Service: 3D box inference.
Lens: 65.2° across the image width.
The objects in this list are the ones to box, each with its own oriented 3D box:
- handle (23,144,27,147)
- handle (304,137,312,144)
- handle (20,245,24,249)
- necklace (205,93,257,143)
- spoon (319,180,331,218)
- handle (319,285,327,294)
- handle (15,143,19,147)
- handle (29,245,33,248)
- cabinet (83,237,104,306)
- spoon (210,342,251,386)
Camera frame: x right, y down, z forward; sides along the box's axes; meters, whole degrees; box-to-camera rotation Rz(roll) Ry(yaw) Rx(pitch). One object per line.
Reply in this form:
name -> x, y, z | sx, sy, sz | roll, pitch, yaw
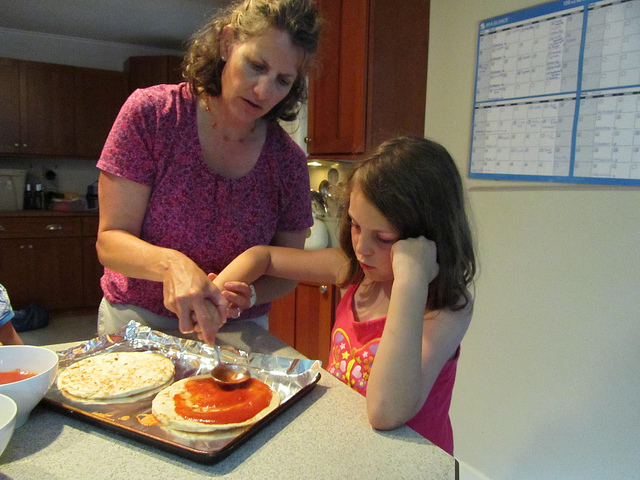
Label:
handle -> -2.787, -0.896, 4.711 | 0.028, 0.029, 0.007 | 9, -12, -20
handle -> -0.076, -0.579, 2.928 | 0.046, 0.023, 0.038 | 16, 19, 2
handle -> -2.703, 0.053, 4.525 | 0.006, 0.034, 0.032 | 11, 16, 42
necklace -> -0.331, -0.403, 1.683 | 0.109, 0.141, 0.012 | 1, 39, 4
spoon -> 0.025, -0.267, 3.181 | 0.104, 0.227, 0.037 | 11, 16, 42
handle -> 0.014, 0.277, 2.880 | 0.035, 0.037, 0.027 | 11, 11, 33
handle -> -2.853, -0.898, 4.687 | 0.034, 0.036, 0.008 | 4, 3, -15
handle -> -2.646, 0.048, 4.555 | 0.026, 0.028, 0.006 | -1, -3, -14
cabinet -> -2.192, 0.309, 4.842 | 0.200, 0.692, 0.201 | -11, 16, -43
spoon -> -0.261, 0.358, 1.449 | 0.117, 0.081, 0.116 | 0, 12, -3
